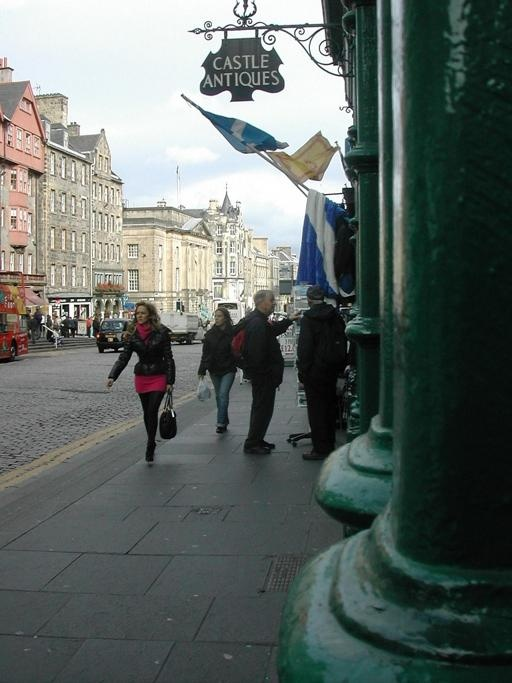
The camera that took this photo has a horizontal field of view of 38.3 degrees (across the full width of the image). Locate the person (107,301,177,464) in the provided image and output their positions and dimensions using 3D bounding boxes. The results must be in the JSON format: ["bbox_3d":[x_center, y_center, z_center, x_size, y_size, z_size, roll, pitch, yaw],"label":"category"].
[{"bbox_3d":[-1.264,0.286,8.276,0.695,1.437,0.497,-1,1,23],"label":"person"}]

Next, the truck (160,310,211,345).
[{"bbox_3d":[-5.112,-0.943,51.149,2.438,2.550,5.323,1,7,10],"label":"truck"}]

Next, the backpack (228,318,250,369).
[{"bbox_3d":[-0.200,0.014,8.836,0.204,0.506,0.381,-4,-14,1],"label":"backpack"}]

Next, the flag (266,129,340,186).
[{"bbox_3d":[0.583,-2.271,9.582,1.044,0.456,1.137,-13,-2,33],"label":"flag"}]

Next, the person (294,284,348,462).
[{"bbox_3d":[0.682,0.318,8.032,0.538,1.845,0.665,-1,1,24],"label":"person"}]

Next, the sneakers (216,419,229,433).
[{"bbox_3d":[-0.459,1.141,9.930,0.125,0.138,0.327,-2,-9,5],"label":"sneakers"}]

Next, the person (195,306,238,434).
[{"bbox_3d":[-0.535,0.364,10.235,0.533,1.687,1.437,-1,1,-3],"label":"person"}]

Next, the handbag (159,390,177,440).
[{"bbox_3d":[-0.979,0.823,8.133,0.166,0.530,0.332,-1,1,-7],"label":"handbag"}]

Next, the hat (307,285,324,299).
[{"bbox_3d":[0.643,-0.542,8.135,0.120,0.144,0.156,3,11,-2],"label":"hat"}]

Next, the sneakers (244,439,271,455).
[{"bbox_3d":[0.006,1.173,8.203,0.318,0.145,0.114,-3,7,-1],"label":"sneakers"}]
